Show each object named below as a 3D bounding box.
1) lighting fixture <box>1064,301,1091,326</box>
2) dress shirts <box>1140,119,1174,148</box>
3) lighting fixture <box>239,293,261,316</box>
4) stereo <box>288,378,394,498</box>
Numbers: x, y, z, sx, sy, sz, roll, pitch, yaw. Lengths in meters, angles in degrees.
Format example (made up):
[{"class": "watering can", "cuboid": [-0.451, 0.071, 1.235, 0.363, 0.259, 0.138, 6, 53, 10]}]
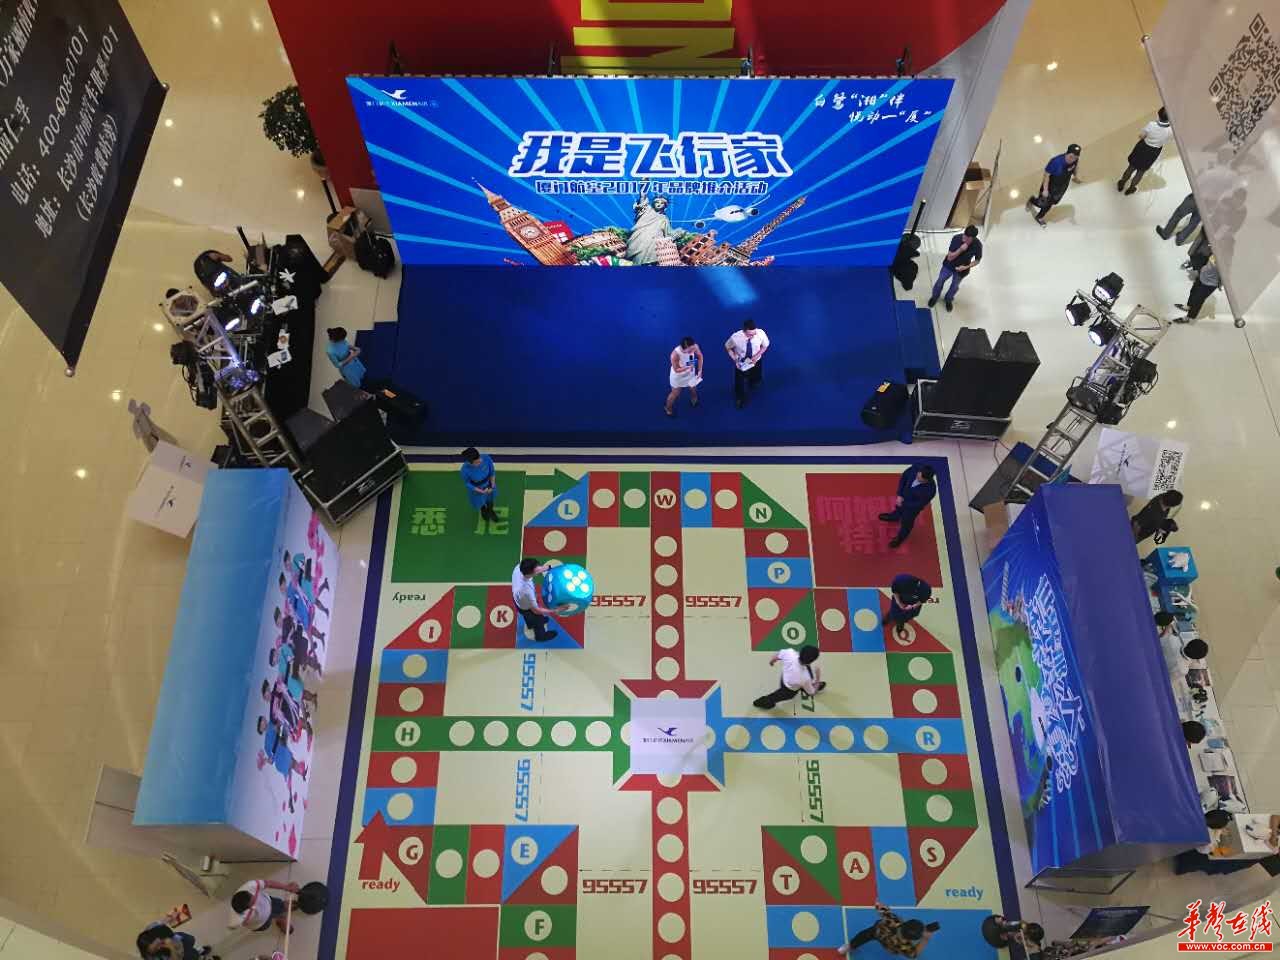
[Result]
[{"class": "lighting fixture", "cuboid": [5.130, -1.990, 10.397, 0.219, 0.224, 0.289, 7, 57, 7]}, {"class": "dress shirts", "cuboid": [7.468, -5.022, 12.807, 0.343, 0.418, 0.247, 13, 57, 10]}, {"class": "lighting fixture", "cuboid": [-4.691, -2.133, 10.663, 0.119, 0.224, 0.160, 34, 58, 13]}, {"class": "stereo", "cuboid": [-3.664, -0.462, 10.930, 1.041, 1.018, 0.563, -42, 56, -11]}]
